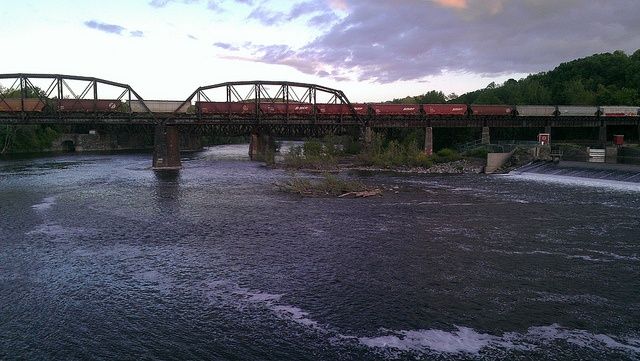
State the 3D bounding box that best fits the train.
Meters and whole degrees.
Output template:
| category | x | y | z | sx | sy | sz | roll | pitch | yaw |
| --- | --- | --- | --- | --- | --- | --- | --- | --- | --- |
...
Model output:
| category | x | y | z | sx | sy | sz | roll | pitch | yaw |
| --- | --- | --- | --- | --- | --- | --- | --- | --- | --- |
| train | 1.607 | -15.682 | 90.196 | 128.468 | 4.629 | 9.497 | -1 | 13 | -5 |
